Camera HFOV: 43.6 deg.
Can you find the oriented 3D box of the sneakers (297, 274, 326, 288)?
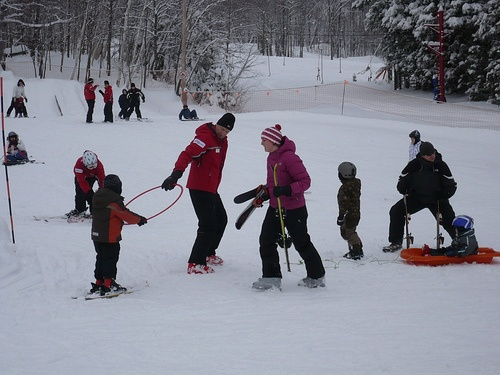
[{"bbox_3d":[1.119,1.709,11.385,0.345,0.156,0.199,4,0,14],"label":"sneakers"}]

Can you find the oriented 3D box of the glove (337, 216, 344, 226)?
[{"bbox_3d":[1.755,0.655,12.196,0.121,0.192,0.197,2,6,8],"label":"glove"}]

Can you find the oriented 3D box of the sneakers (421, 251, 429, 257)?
[{"bbox_3d":[3.420,1.317,12.259,0.132,0.126,0.070,2,-29,4],"label":"sneakers"}]

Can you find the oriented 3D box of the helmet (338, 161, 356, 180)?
[{"bbox_3d":[1.926,-0.325,12.432,0.261,0.305,0.346,1,22,-15],"label":"helmet"}]

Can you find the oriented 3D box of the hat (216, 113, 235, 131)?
[{"bbox_3d":[-0.441,-1.228,11.771,0.261,0.297,0.340,25,-9,-22],"label":"hat"}]

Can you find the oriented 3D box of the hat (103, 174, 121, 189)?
[{"bbox_3d":[-2.495,-0.137,11.280,0.272,0.265,0.235,-9,17,-21],"label":"hat"}]

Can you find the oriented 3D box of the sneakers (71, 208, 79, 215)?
[{"bbox_3d":[-4.177,0.577,14.938,0.105,0.126,0.127,-5,-16,29],"label":"sneakers"}]

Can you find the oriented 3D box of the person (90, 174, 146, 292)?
[{"bbox_3d":[-2.435,0.827,11.126,0.777,2.059,0.541,1,5,-12],"label":"person"}]

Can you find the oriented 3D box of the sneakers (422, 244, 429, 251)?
[{"bbox_3d":[3.463,1.203,12.383,0.121,0.119,0.086,-6,-5,30],"label":"sneakers"}]

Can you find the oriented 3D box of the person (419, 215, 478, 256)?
[{"bbox_3d":[3.978,1.003,12.323,1.069,0.933,0.795,2,5,19],"label":"person"}]

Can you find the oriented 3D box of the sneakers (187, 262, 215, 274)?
[{"bbox_3d":[-0.928,1.537,11.935,0.550,0.249,0.188,-2,3,-9],"label":"sneakers"}]

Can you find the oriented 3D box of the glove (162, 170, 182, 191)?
[{"bbox_3d":[-1.396,-0.121,11.192,0.254,0.354,0.385,5,7,34],"label":"glove"}]

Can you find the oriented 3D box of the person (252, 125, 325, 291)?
[{"bbox_3d":[0.673,0.375,11.231,1.187,2.949,0.658,2,5,3],"label":"person"}]

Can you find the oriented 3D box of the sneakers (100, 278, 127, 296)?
[{"bbox_3d":[-2.448,1.755,11.048,0.523,0.258,0.173,-4,7,-30],"label":"sneakers"}]

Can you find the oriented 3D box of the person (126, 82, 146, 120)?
[{"bbox_3d":[-4.316,-3.184,23.360,0.597,1.348,1.111,0,6,-13],"label":"person"}]

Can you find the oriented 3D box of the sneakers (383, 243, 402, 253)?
[{"bbox_3d":[2.912,1.255,12.857,0.437,0.215,0.151,1,9,-2],"label":"sneakers"}]

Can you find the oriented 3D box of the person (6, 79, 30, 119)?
[{"bbox_3d":[-8.623,-3.277,23.057,0.708,1.382,1.382,0,6,-21],"label":"person"}]

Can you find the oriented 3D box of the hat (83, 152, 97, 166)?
[{"bbox_3d":[-3.564,-0.653,14.058,0.264,0.336,0.298,-24,20,-29],"label":"hat"}]

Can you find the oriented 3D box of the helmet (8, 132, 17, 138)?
[{"bbox_3d":[-6.667,-1.473,17.501,0.135,0.194,0.149,5,9,-13],"label":"helmet"}]

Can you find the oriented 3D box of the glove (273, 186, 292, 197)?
[{"bbox_3d":[0.567,0.066,10.977,0.325,0.217,0.190,2,6,2],"label":"glove"}]

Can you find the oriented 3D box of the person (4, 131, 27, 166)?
[{"bbox_3d":[-6.665,-1.137,17.923,0.604,0.900,0.947,-1,6,-22],"label":"person"}]

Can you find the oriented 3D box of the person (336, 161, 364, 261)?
[{"bbox_3d":[1.999,0.484,12.458,0.578,1.948,0.760,3,5,10],"label":"person"}]

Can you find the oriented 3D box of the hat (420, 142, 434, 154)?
[{"bbox_3d":[3.511,-0.754,12.401,0.313,0.272,0.201,3,6,11],"label":"hat"}]

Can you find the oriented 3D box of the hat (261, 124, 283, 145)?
[{"bbox_3d":[0.375,-0.925,11.099,0.372,0.400,0.306,1,-1,-4],"label":"hat"}]

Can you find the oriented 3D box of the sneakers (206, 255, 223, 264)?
[{"bbox_3d":[-0.706,1.429,12.305,0.250,0.122,0.151,-2,7,4],"label":"sneakers"}]

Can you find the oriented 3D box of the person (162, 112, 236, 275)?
[{"bbox_3d":[-0.935,0.116,11.758,1.171,3.022,0.855,0,6,-22],"label":"person"}]

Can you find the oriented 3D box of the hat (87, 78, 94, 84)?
[{"bbox_3d":[-5.473,-3.655,21.441,0.240,0.134,0.337,-9,10,-32],"label":"hat"}]

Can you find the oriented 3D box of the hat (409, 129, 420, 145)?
[{"bbox_3d":[3.947,-1.205,15.094,0.336,0.375,0.264,-6,3,-20],"label":"hat"}]

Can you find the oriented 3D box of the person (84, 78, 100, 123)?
[{"bbox_3d":[-5.671,-3.071,22.230,0.435,1.551,1.961,0,6,-14],"label":"person"}]
